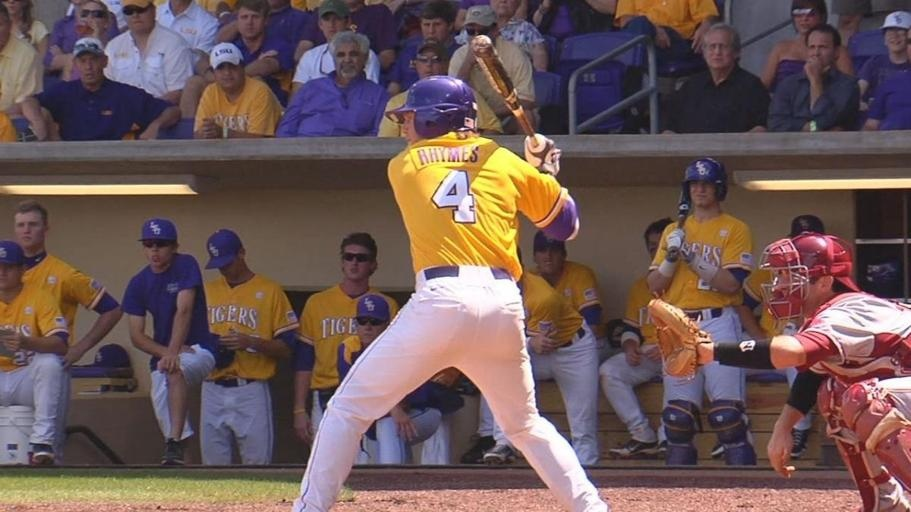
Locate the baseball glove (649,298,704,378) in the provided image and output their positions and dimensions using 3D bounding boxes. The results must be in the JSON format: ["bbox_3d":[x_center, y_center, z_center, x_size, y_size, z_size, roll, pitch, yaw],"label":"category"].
[{"bbox_3d":[1.967,0.741,17.208,0.385,0.749,0.386,0,0,25],"label":"baseball glove"}]

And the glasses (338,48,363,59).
[{"bbox_3d":[-1.132,-2.146,20.836,0.281,0.072,0.066,1,-1,-20],"label":"glasses"}]

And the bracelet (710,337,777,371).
[{"bbox_3d":[2.552,0.866,17.125,0.515,0.238,0.121,0,-1,18],"label":"bracelet"}]

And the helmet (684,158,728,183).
[{"bbox_3d":[2.556,-0.848,19.648,0.440,0.250,0.278,2,-1,-35],"label":"helmet"}]

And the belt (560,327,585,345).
[{"bbox_3d":[1.211,0.816,20.021,0.185,0.047,0.187,-33,1,0],"label":"belt"}]

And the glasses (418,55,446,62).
[{"bbox_3d":[-0.252,-2.082,20.728,0.266,0.075,0.047,1,-1,-2],"label":"glasses"}]

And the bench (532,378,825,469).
[{"bbox_3d":[2.413,1.737,19.960,2.134,0.995,1.330,0,-1,-1],"label":"bench"}]

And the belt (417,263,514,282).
[{"bbox_3d":[0.103,0.164,17.255,0.762,0.121,0.103,1,-1,-7],"label":"belt"}]
